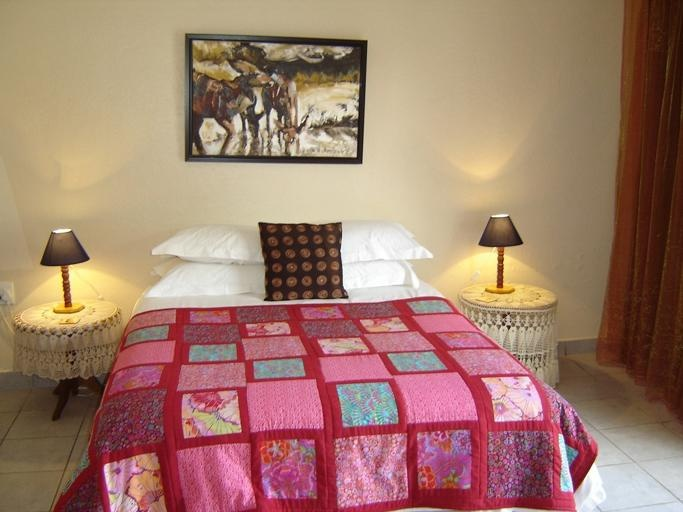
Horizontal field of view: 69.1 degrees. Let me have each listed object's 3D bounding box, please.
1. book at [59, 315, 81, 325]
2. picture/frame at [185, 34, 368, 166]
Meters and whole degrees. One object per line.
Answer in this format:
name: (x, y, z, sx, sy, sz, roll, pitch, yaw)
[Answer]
book: (-1.541, 0.363, 2.833, 0.111, 0.016, 0.114, 0, 13, -4)
picture/frame: (-0.463, -1.035, 3.203, 0.879, 0.598, 0.036, 0, 9, -9)
